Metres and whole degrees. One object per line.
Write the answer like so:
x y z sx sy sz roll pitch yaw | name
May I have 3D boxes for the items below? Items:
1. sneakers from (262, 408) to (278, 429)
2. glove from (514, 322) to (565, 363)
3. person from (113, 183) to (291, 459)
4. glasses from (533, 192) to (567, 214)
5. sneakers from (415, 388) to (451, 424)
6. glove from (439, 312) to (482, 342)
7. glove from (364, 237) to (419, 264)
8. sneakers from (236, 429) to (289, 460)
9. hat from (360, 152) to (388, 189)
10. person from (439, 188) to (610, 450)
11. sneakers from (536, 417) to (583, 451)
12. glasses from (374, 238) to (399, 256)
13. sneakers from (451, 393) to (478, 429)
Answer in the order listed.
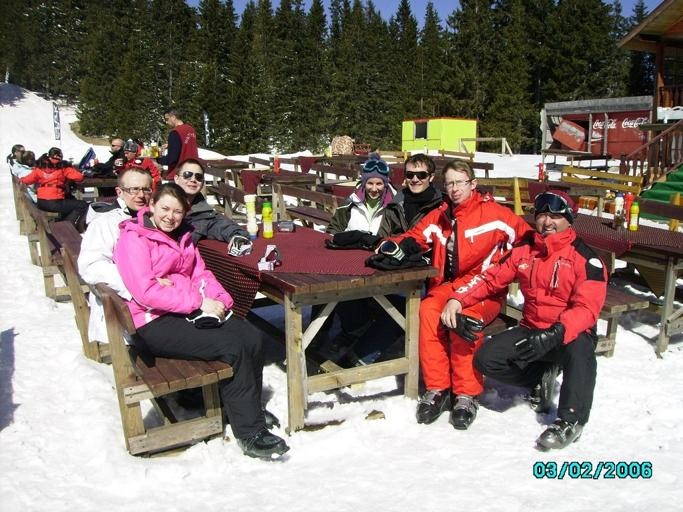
-0.554 1.240 4.215 0.121 0.051 0.168 -21 37 -34 | sneakers
1.402 0.611 3.865 0.356 0.200 0.111 -32 -25 24 | glove
-1.042 0.433 4.023 1.200 1.910 0.542 1 8 11 | person
1.544 -0.387 3.999 0.240 0.163 0.111 3 8 21 | glasses
0.724 1.129 4.324 0.170 0.220 0.470 0 12 29 | sneakers
0.890 0.511 3.982 0.198 0.155 0.085 27 31 35 | glove
0.399 -0.024 4.174 0.273 0.099 0.236 -1 40 30 | glove
-0.559 1.310 3.864 0.329 0.142 0.183 0 12 24 | sneakers
0.319 -0.784 5.060 0.222 0.317 0.317 4 -1 3 | hat
1.431 0.432 4.105 0.953 1.820 0.620 4 9 29 | person
1.599 1.266 3.975 0.459 0.194 0.165 -1 11 -37 | sneakers
0.354 -0.068 4.208 0.200 0.107 0.143 2 8 17 | glasses
0.942 1.178 4.214 0.130 0.138 0.300 4 18 21 | sneakers
